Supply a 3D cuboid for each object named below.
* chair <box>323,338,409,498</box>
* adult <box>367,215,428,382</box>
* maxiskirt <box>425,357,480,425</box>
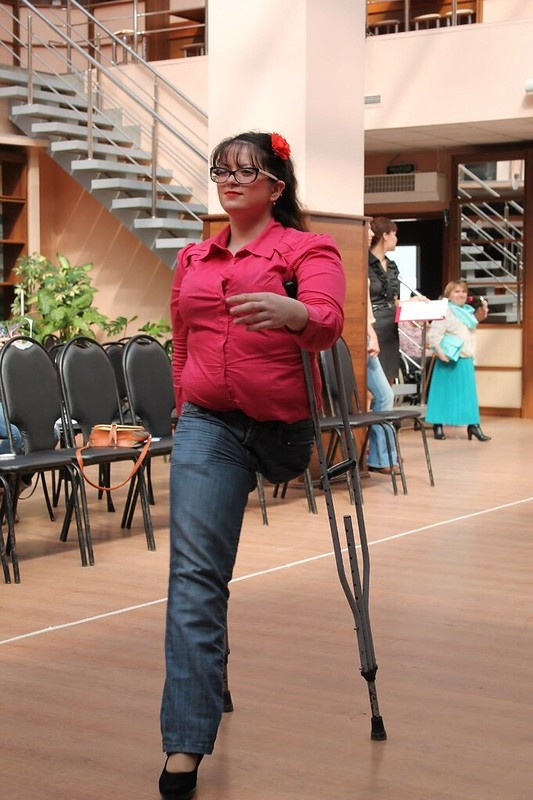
[{"bbox_3d":[0.635,0.079,4.763,0.620,0.824,0.566,6,6,29],"label":"chair"},{"bbox_3d":[1.122,-0.673,6.436,0.553,1.883,0.501,-1,18,10],"label":"adult"},{"bbox_3d":[1.991,-0.099,7.714,0.656,0.748,0.427,3,0,21],"label":"maxiskirt"}]
